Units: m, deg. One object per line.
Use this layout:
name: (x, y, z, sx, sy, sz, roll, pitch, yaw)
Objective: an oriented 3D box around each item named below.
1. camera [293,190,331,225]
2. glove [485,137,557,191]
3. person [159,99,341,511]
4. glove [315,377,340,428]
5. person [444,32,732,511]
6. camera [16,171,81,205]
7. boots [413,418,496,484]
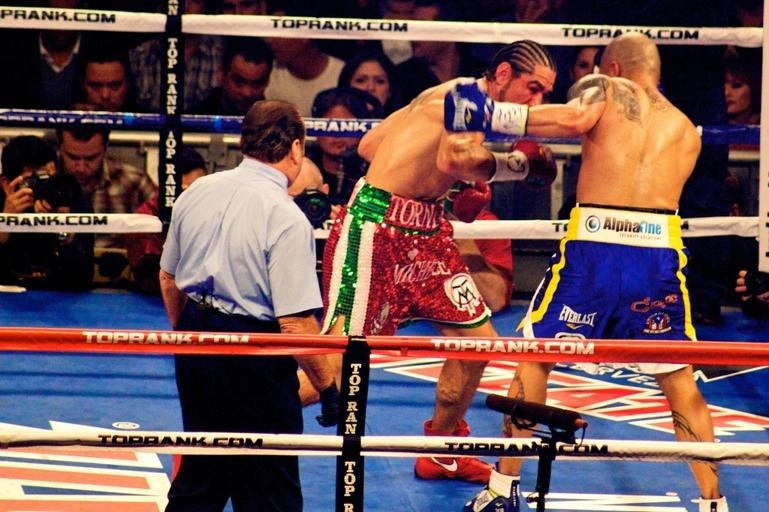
camera: (-0.524, -0.360, 7.951, 0.209, 0.073, 0.258, 0, 31, -18)
glove: (0.841, -0.523, 6.504, 0.413, 0.368, 0.315, 15, 19, 39)
person: (-0.703, 0.254, 5.560, 0.850, 1.957, 0.774, -2, 15, -11)
glove: (-0.284, 0.758, 5.465, 0.105, 0.228, 0.315, 0, 15, -3)
person: (1.174, 0.082, 6.078, 1.232, 2.468, 1.187, 2, 15, 2)
camera: (-2.546, -0.517, 8.539, 0.349, 0.201, 0.316, -1, -26, 37)
boots: (0.409, 1.145, 6.452, 0.528, 0.321, 0.176, 9, 4, -23)
